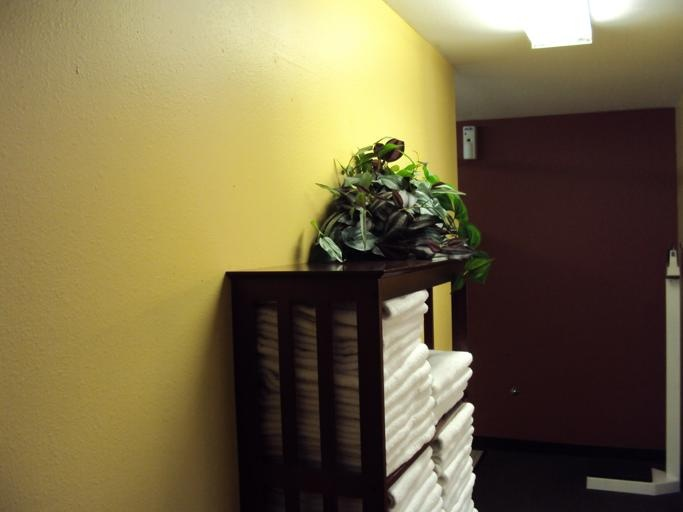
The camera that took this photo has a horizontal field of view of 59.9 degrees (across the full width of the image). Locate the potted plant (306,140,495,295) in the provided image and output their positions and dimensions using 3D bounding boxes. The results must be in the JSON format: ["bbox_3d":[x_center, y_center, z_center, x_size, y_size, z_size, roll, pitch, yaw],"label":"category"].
[{"bbox_3d":[0.180,-0.138,1.896,0.516,0.381,0.540,4,7,29],"label":"potted plant"}]
